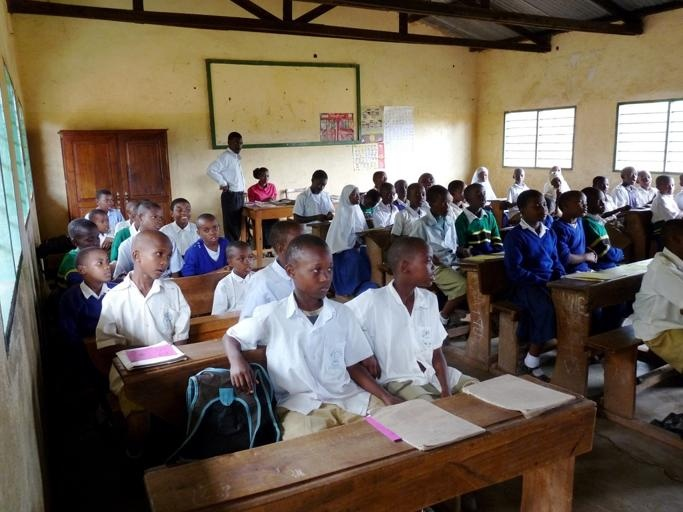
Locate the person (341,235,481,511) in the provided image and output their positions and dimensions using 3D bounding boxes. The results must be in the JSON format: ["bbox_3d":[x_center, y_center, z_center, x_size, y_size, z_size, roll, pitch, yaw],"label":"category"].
[{"bbox_3d":[0.301,0.269,2.446,0.667,0.880,0.619,-1,3,42],"label":"person"}]

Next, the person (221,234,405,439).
[{"bbox_3d":[-0.036,0.239,2.606,0.807,1.112,0.764,-3,4,-34],"label":"person"}]

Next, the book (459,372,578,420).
[{"bbox_3d":[0.700,0.553,2.085,0.316,0.081,0.319,0,5,-27],"label":"book"}]

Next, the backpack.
[{"bbox_3d":[-0.437,0.679,2.166,0.459,0.472,0.481,-5,-6,8],"label":"backpack"}]

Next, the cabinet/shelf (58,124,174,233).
[{"bbox_3d":[-2.937,-1.060,7.038,1.299,1.499,0.496,-8,37,-27],"label":"cabinet/shelf"}]

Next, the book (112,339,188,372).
[{"bbox_3d":[-0.817,0.431,2.294,0.249,0.031,0.244,-10,12,-34],"label":"book"}]
